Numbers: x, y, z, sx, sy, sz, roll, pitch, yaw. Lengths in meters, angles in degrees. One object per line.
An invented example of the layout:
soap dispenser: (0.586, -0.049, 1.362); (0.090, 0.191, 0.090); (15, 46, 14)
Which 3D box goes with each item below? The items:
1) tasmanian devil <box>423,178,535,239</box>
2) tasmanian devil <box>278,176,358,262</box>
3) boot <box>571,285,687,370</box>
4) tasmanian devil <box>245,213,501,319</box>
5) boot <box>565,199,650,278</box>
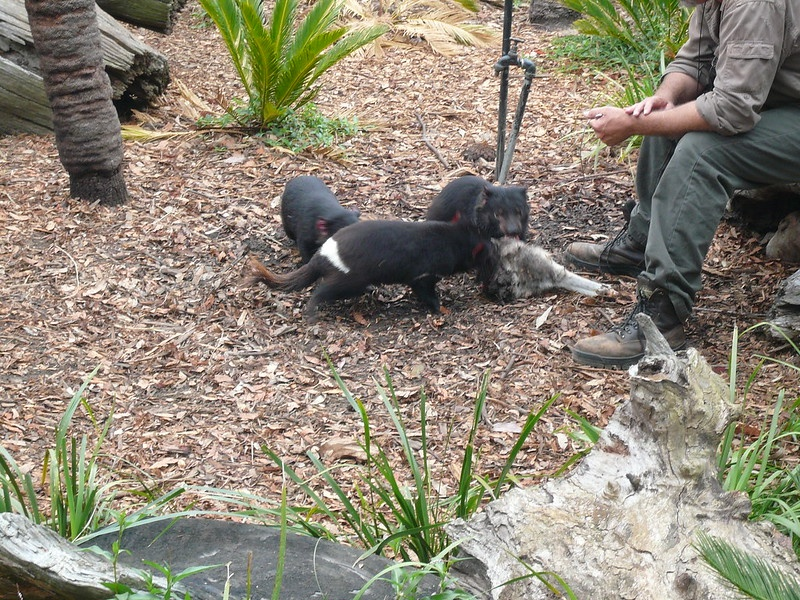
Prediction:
tasmanian devil: (0.471, -0.575, 4.776); (0.342, 0.274, 0.606); (-21, 29, -33)
tasmanian devil: (-0.547, -0.510, 4.922); (0.662, 0.464, 0.538); (-3, 21, -8)
boot: (1.100, 0.145, 3.824); (0.600, 0.266, 0.434); (-11, 20, -29)
tasmanian devil: (-0.121, -0.182, 4.598); (1.295, 0.498, 0.291); (-6, 34, -13)
boot: (1.178, -0.342, 4.772); (0.661, 0.386, 0.245); (17, 29, 29)
